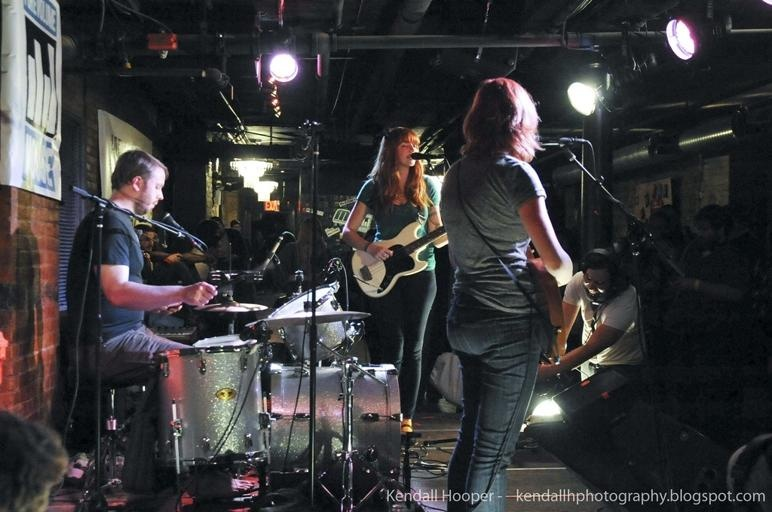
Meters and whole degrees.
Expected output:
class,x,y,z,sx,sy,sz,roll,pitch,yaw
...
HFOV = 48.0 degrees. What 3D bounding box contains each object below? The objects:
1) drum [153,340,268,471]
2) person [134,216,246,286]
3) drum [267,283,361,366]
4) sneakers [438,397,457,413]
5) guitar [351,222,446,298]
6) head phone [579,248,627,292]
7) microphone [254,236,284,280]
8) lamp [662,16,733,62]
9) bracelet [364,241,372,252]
class,x,y,z,sx,sy,sz,roll,pitch,yaw
drum,-1.305,1.147,7.072,0.950,0.830,0.914,-3,-6,2
person,-2.173,-0.033,9.539,0.498,0.323,0.861,12,3,33
drum,-0.527,0.571,6.921,0.658,0.509,0.609,-26,9,5
sneakers,0.631,1.548,9.022,0.117,0.045,0.154,19,2,-21
guitar,0.146,0.012,7.273,1.025,0.392,0.121,-29,-10,16
head phone,1.970,0.123,7.728,0.328,0.440,0.178,2,44,19
microphone,-0.957,-0.008,7.208,0.150,0.057,0.610,17,33,11
lamp,2.813,-2.015,7.857,0.538,0.357,0.143,-18,6,8
bracelet,-0.158,-0.081,7.419,0.017,0.063,0.064,21,28,-12
